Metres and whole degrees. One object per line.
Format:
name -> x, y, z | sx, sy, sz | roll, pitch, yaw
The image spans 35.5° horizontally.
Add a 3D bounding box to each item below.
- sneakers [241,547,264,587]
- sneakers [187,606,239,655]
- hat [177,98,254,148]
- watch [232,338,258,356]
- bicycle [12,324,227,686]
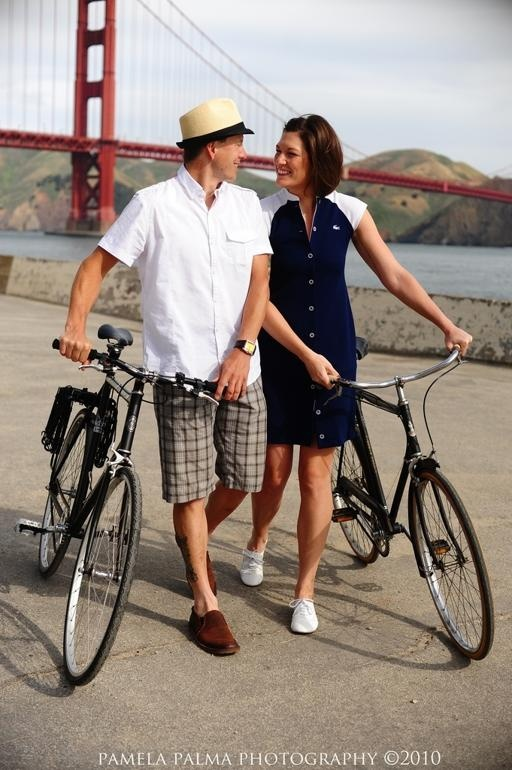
sneakers -> -0.011, 0.676, 2.973 | 0.076, 0.134, 0.056 | 0, -19, 1
sneakers -> -0.132, 0.761, 2.455 | 0.079, 0.070, 0.192 | 1, -3, -22
hat -> -0.124, -0.778, 2.393 | 0.211, 0.147, 0.109 | 1, 12, -5
watch -> -0.022, -0.113, 2.469 | 0.066, 0.040, 0.067 | 15, -4, -40
bicycle -> -0.465, 0.294, 2.565 | 0.438, 0.991, 1.074 | -3, 12, -23
